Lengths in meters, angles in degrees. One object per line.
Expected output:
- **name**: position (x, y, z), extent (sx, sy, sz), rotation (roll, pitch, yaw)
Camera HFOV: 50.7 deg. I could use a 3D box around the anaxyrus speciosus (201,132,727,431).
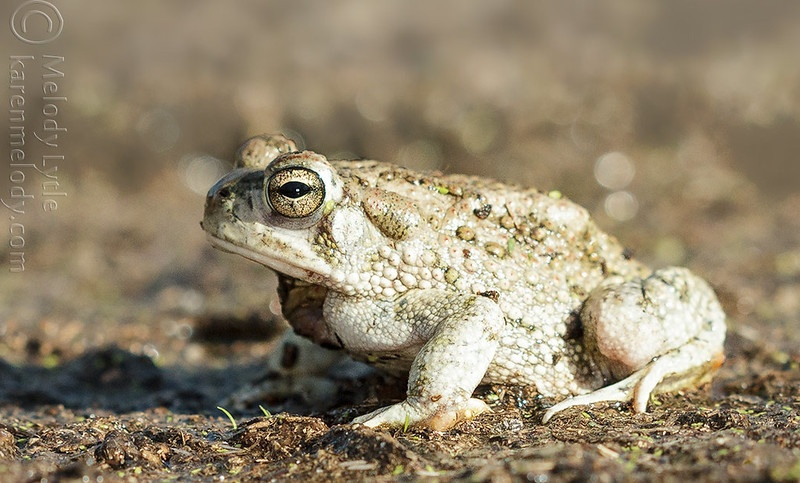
- **anaxyrus speciosus**: position (0.205, 0.551, 9.300), extent (4.934, 4.687, 2.846), rotation (3, 82, -38)
